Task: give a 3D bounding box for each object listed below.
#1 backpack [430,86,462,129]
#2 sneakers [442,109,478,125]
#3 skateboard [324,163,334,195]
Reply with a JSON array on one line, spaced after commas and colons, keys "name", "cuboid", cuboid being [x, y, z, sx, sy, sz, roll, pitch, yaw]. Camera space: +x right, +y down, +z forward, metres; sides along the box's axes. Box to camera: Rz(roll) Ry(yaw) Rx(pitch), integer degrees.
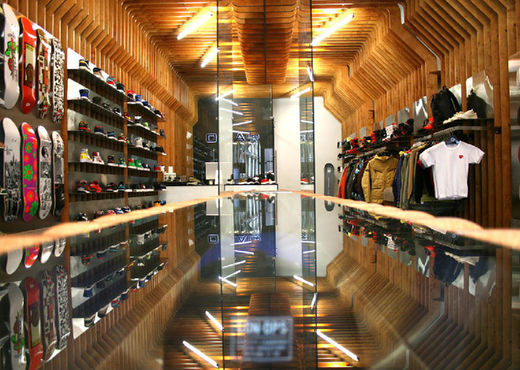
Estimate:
[{"name": "backpack", "cuboid": [2.409, -1.043, 5.234, 0.460, 0.355, 0.268, 55, -131, -27]}, {"name": "sneakers", "cuboid": [2.270, -0.763, 4.711, 0.289, 0.188, 0.134, -3, -88, -4]}, {"name": "skateboard", "cuboid": [2.173, -0.123, 13.308, 0.312, 0.160, 1.544, 2, -46, 10]}]
